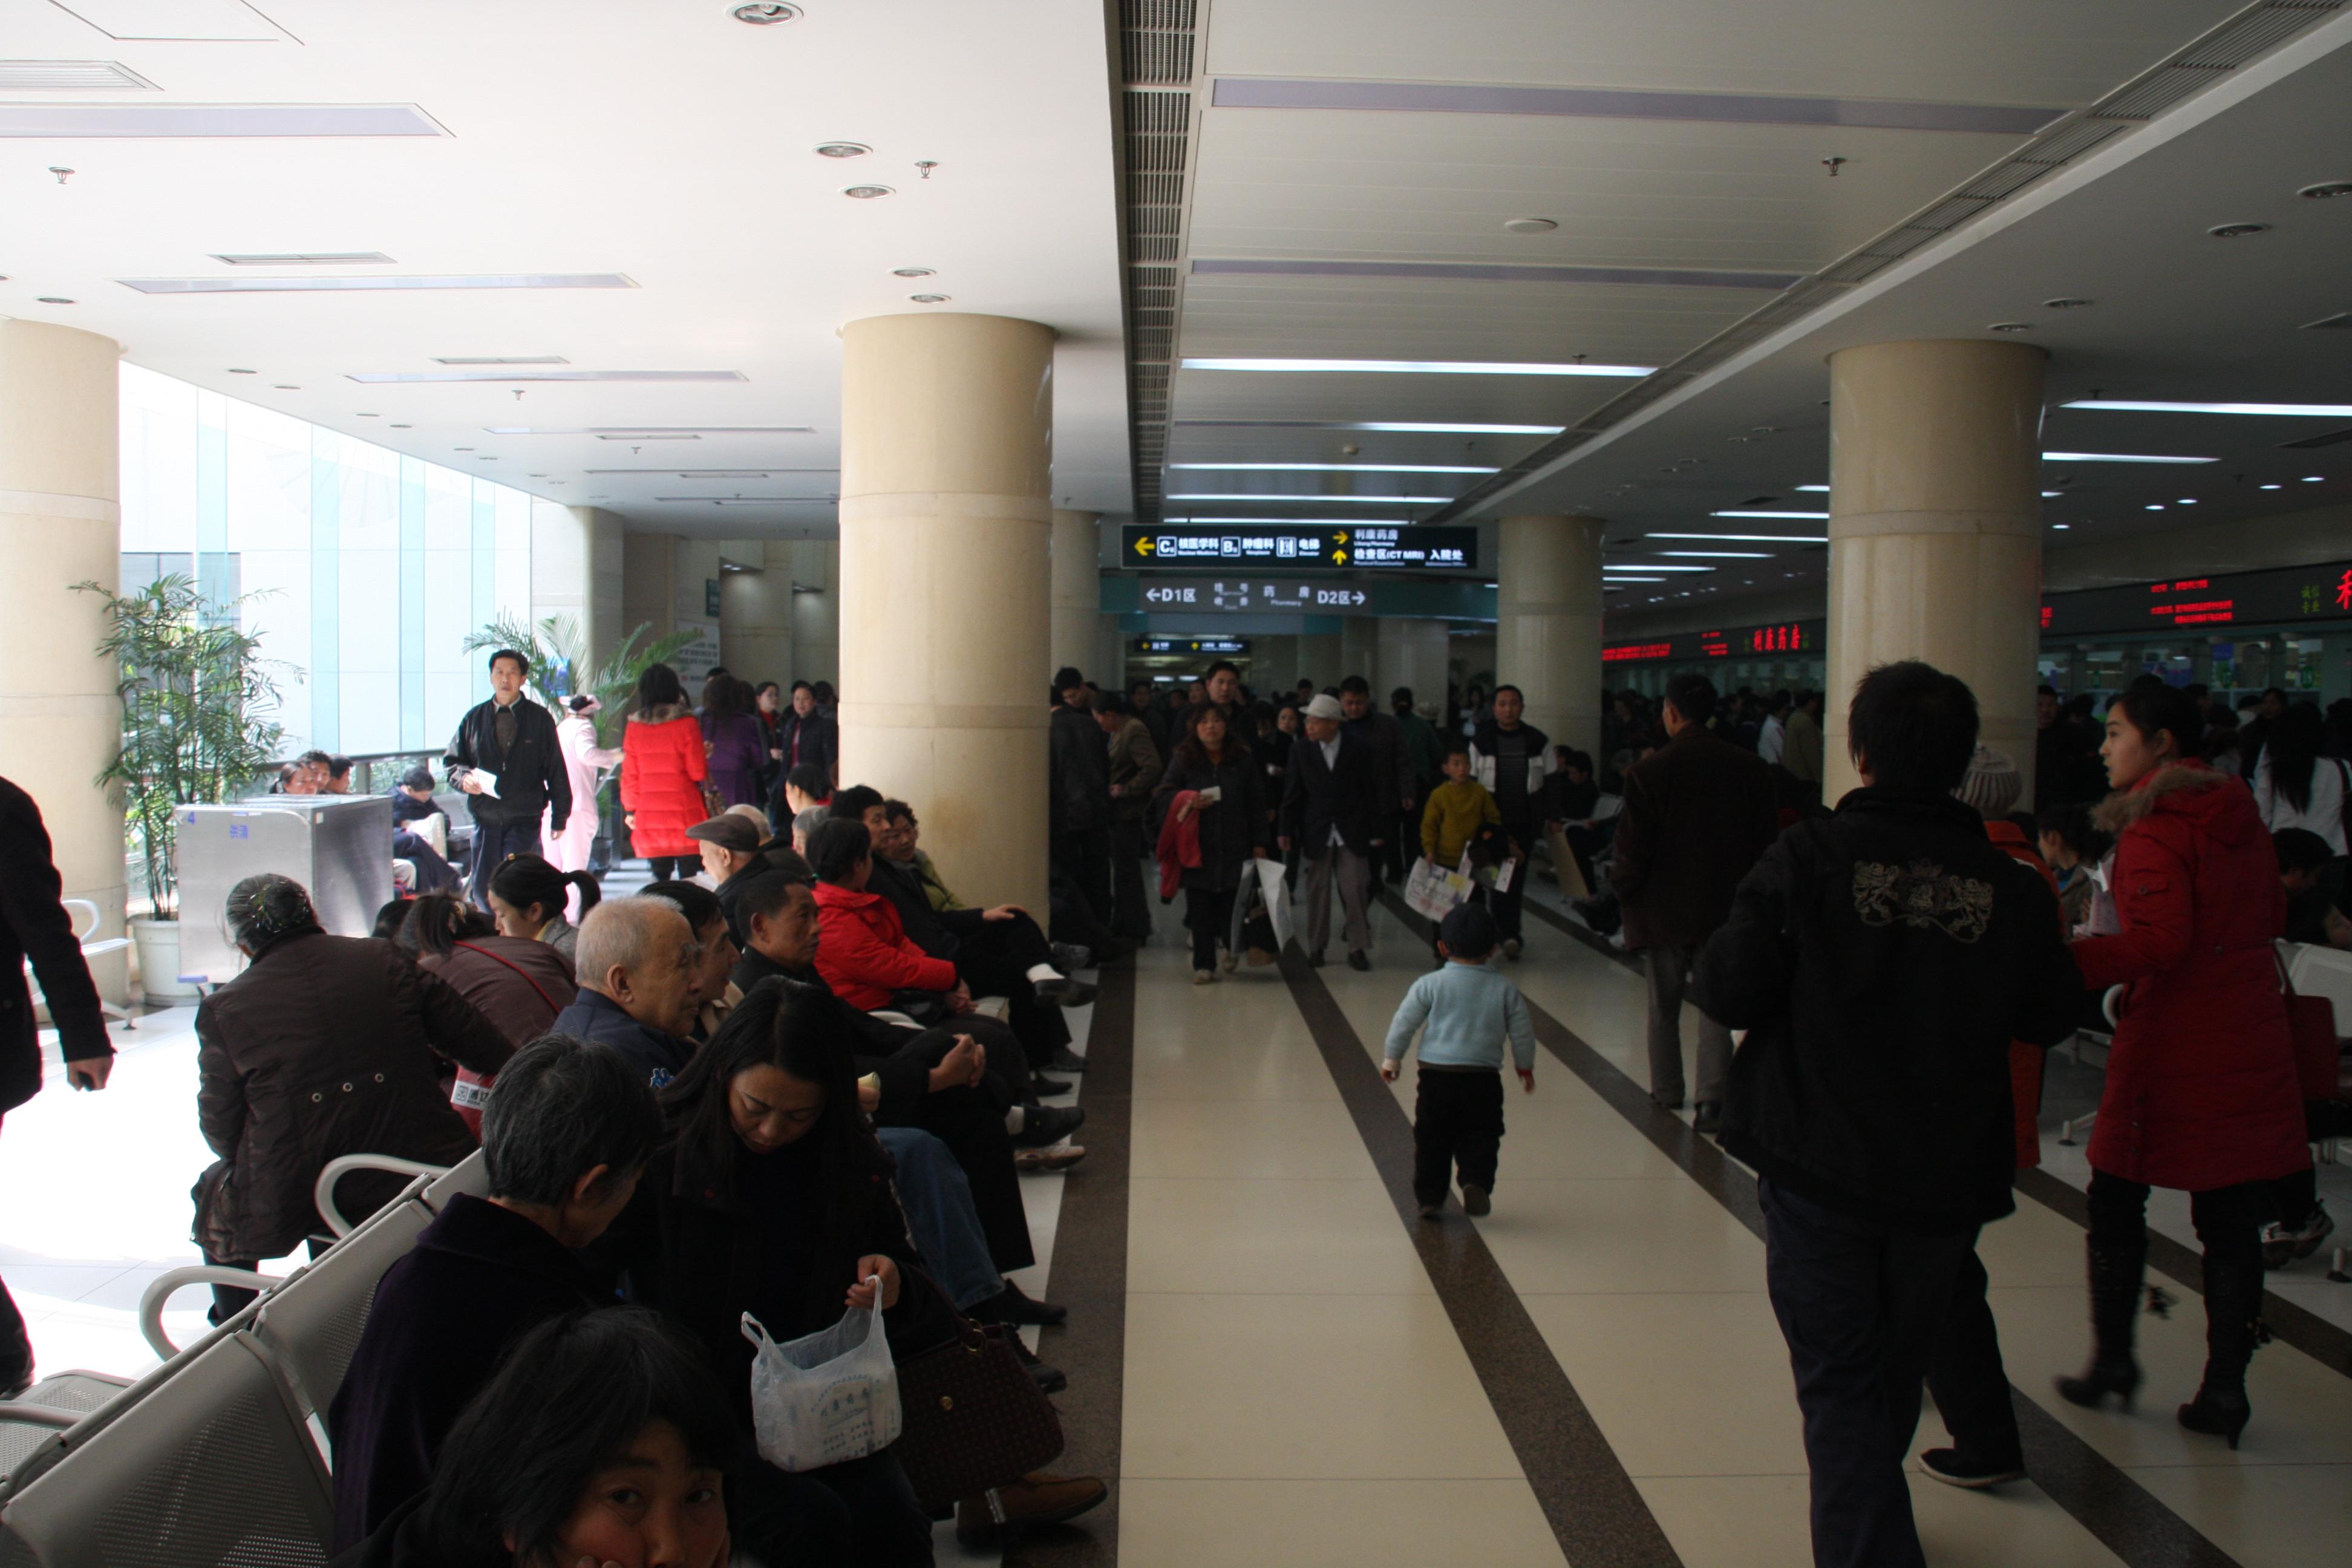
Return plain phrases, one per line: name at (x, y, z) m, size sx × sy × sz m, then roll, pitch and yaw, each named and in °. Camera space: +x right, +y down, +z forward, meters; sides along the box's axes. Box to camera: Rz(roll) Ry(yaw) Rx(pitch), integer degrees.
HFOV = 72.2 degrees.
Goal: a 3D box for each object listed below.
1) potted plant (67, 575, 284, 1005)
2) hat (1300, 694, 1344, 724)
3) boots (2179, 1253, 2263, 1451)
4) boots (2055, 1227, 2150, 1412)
potted plant at (-6.319, -0.258, 10.457) m, size 0.987 × 1.786 × 0.992 m, roll -6°, pitch -8°, yaw -2°
hat at (0.988, -0.495, 10.785) m, size 0.185 × 0.126 × 0.248 m, roll 2°, pitch 3°, yaw 16°
boots at (3.160, 1.681, 4.885) m, size 0.187 × 0.593 × 0.219 m, roll 6°, pitch 11°, yaw 37°
boots at (2.917, 1.669, 5.047) m, size 0.257 × 0.568 × 0.204 m, roll -6°, pitch 10°, yaw -30°
